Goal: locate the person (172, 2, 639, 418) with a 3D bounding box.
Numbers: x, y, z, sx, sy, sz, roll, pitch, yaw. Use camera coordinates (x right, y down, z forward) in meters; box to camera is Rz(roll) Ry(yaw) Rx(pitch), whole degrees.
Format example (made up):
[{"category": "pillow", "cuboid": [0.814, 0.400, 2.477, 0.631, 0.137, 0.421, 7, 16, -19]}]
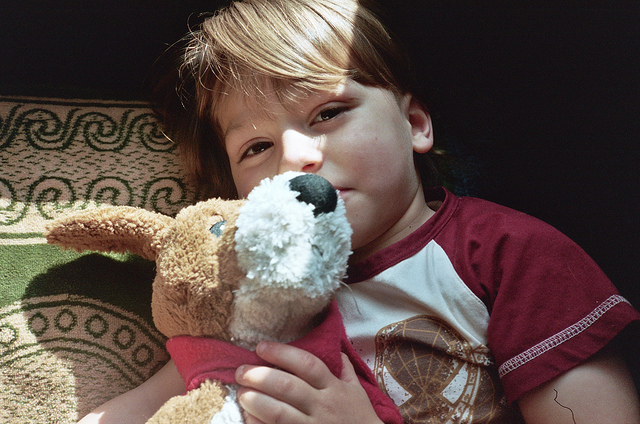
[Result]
[{"category": "person", "cuboid": [0.190, -0.022, 1.411, 1.172, 0.813, 0.457, 21, 24, 30]}]
